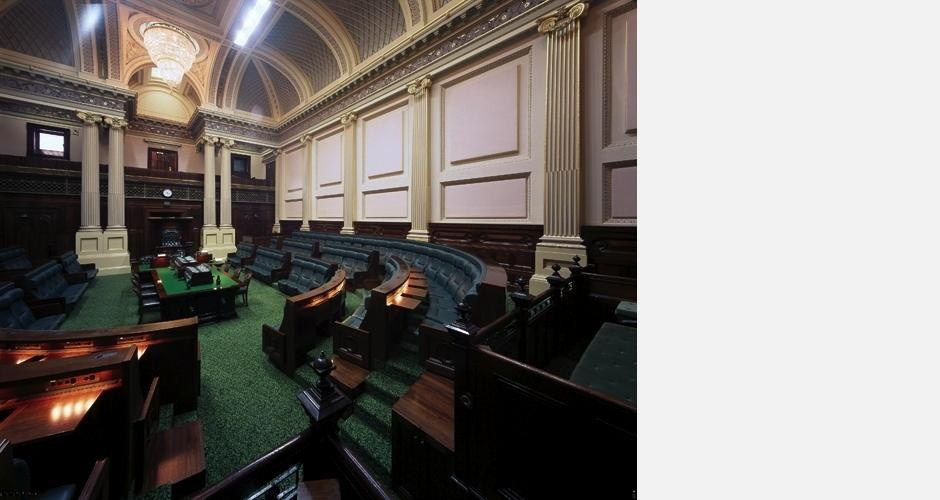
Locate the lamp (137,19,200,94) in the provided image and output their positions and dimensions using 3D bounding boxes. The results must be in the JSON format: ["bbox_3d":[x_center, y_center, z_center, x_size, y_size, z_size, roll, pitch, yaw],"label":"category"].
[{"bbox_3d":[-7.841,-5.188,13.870,1.818,1.826,1.711,5,13,-19],"label":"lamp"}]

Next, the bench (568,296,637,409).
[{"bbox_3d":[2.502,1.869,9.571,1.129,1.460,1.878,2,5,15],"label":"bench"}]
